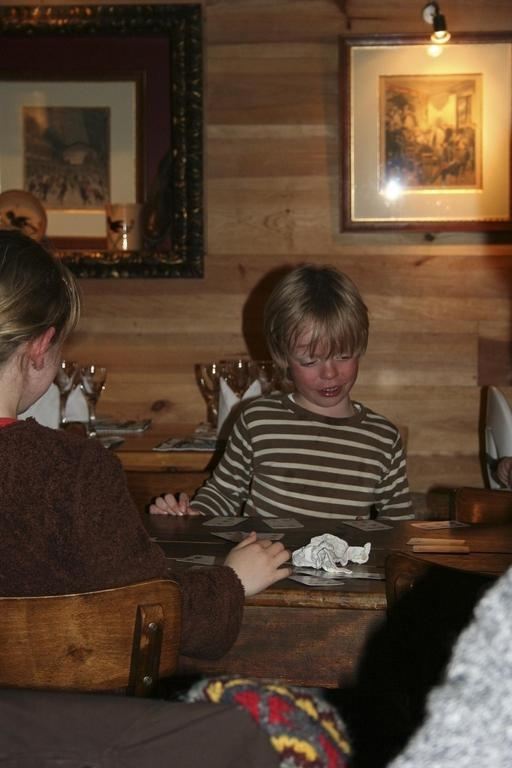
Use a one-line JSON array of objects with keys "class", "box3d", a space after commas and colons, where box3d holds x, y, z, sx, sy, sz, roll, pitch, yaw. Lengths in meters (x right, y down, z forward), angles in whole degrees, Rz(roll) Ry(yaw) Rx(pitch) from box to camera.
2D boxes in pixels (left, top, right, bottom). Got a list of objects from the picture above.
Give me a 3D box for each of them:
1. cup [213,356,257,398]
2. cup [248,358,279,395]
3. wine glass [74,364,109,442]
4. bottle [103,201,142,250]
[{"class": "cup", "box3d": [-0.061, -0.028, 2.147, 0.123, 0.114, 0.119, 0, -1, 0]}, {"class": "cup", "box3d": [0.029, -0.027, 2.157, 0.104, 0.092, 0.097, -3, -4, 0]}, {"class": "wine glass", "box3d": [-0.461, 0.050, 2.035, 0.080, 0.196, 0.072, -1, -4, 7]}, {"class": "bottle", "box3d": [-0.421, -0.497, 2.318, 0.120, 0.151, 0.104, 4, 12, 8]}]
